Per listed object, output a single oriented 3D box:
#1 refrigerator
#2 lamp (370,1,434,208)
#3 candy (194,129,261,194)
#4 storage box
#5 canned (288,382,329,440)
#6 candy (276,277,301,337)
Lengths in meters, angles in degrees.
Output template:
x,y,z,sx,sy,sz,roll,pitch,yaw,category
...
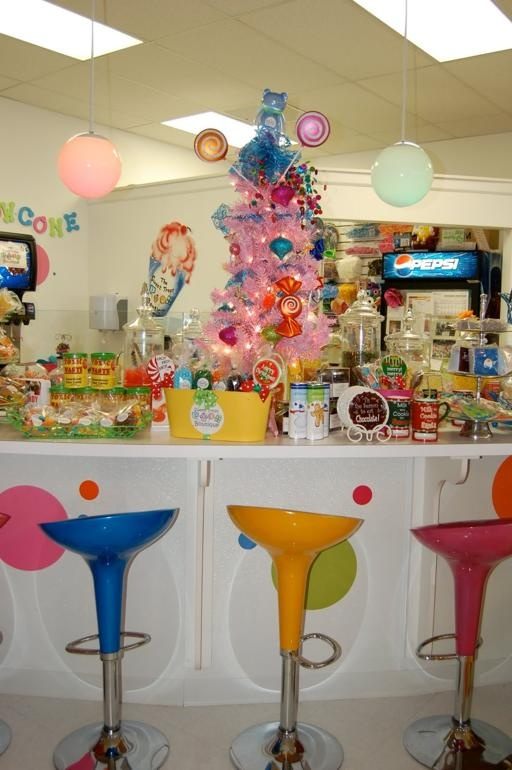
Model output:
x,y,z,sx,sy,sz,roll,pitch,yaw,category
1.266,-0.548,4.722,1.303,1.122,0.423,2,11,28,refrigerator
0.834,-1.660,3.579,0.393,1.597,0.390,1,1,23,lamp
-0.134,-0.720,1.922,0.090,0.074,0.144,2,1,-1,candy
-0.108,0.087,1.759,0.369,0.131,0.235,-1,9,-4,storage box
0.145,0.078,1.841,0.121,0.150,0.134,1,2,-4,canned
0.098,-0.224,1.819,0.086,0.135,0.090,2,1,-5,candy
